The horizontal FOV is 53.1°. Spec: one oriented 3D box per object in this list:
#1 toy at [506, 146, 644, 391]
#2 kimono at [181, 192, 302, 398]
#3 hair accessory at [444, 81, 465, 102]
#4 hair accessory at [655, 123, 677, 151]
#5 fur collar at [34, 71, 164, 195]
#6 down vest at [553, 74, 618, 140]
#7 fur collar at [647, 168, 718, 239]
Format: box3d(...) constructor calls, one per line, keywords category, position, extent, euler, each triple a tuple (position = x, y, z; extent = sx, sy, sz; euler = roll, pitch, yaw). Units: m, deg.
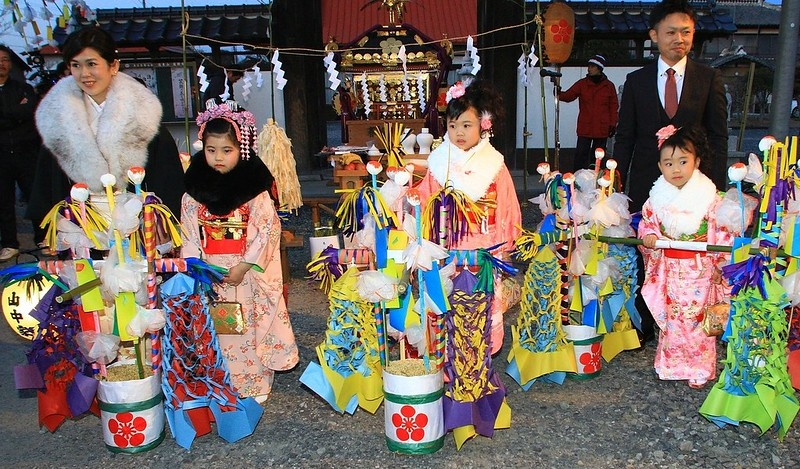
box3d(category="toy", position=(1.373, 0.310, 6.358), extent=(1.223, 1.710, 0.549), euler=(-10, 17, -29))
box3d(category="kimono", position=(-1.286, 0.389, 6.270), extent=(0.950, 2.052, 0.545), euler=(2, 29, -2))
box3d(category="hair accessory", position=(0.443, -1.120, 6.314), extent=(0.139, 0.159, 0.238), euler=(-3, 15, -5))
box3d(category="hair accessory", position=(2.130, -0.793, 6.396), extent=(0.200, 0.195, 0.073), euler=(18, -19, 33))
box3d(category="fur collar", position=(-2.300, -0.766, 6.088), extent=(0.869, 0.908, 0.227), euler=(-5, -6, -2))
box3d(category="down vest", position=(2.683, -1.799, 11.362), extent=(0.944, 0.829, 0.461), euler=(1, 7, -4))
box3d(category="fur collar", position=(2.192, -0.232, 6.232), extent=(0.459, 0.525, 0.215), euler=(-1, -22, 26))
